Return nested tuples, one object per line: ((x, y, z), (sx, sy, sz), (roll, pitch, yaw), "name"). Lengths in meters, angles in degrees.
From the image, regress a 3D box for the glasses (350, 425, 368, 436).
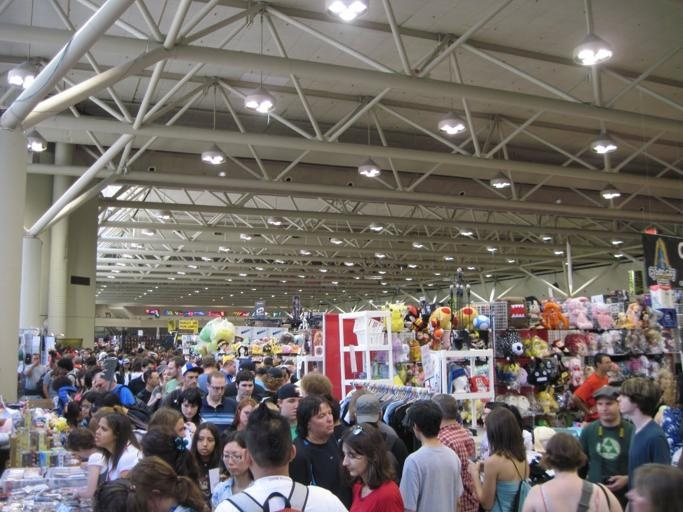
((0.106, 1.246, 4.004), (0.051, 0.024, 0.070), (35, -51, -14), "glasses")

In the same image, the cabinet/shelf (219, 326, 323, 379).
((-1.925, 2.616, 16.947), (2.924, 0.871, 0.825), (-3, -16, 11), "cabinet/shelf")

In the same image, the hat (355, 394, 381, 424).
((0.246, 1.397, 5.165), (0.203, 0.137, 0.287), (-1, 1, 3), "hat")

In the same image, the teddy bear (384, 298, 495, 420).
((1.616, 1.358, 7.908), (1.720, 1.394, 1.781), (3, -11, -13), "teddy bear")

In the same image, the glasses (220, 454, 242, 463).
((-0.833, 1.504, 4.190), (0.186, 0.074, 0.066), (-11, -15, 40), "glasses")

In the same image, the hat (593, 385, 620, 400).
((2.440, 1.246, 5.115), (0.246, 0.123, 0.170), (-12, -15, 42), "hat")

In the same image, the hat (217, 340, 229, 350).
((-3.049, 2.274, 14.356), (0.268, 0.246, 0.208), (-5, -33, 2), "hat")

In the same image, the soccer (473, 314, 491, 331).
((2.048, 0.972, 8.119), (0.247, 0.221, 0.236), (19, -8, -27), "soccer")

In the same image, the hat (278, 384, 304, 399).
((-0.501, 1.296, 5.357), (0.197, 0.137, 0.203), (-1, -11, -4), "hat")

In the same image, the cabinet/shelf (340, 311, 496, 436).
((1.002, 1.496, 7.763), (2.320, 1.917, 1.628), (2, -5, -17), "cabinet/shelf")

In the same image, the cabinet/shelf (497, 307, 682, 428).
((3.304, 1.536, 7.718), (2.091, 0.936, 0.609), (4, -17, -20), "cabinet/shelf")

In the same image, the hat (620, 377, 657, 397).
((2.589, 1.131, 4.857), (0.307, 0.153, 0.200), (-5, -12, 18), "hat")
